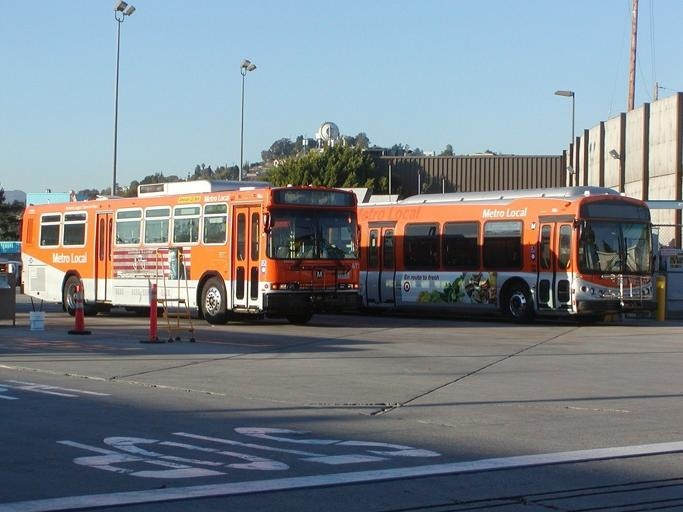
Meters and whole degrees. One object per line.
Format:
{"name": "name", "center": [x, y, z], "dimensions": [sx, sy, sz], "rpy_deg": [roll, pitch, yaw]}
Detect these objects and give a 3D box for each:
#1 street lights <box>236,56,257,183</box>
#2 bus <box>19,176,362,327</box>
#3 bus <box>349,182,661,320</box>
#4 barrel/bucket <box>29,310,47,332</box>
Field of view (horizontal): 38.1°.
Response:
{"name": "street lights", "center": [-0.964, -1.367, 9.808], "dimensions": [0.196, 1.107, 0.233], "rpy_deg": [-3, 20, -17]}
{"name": "bus", "center": [-5.930, -0.041, 29.979], "dimensions": [13.745, 4.419, 3.135], "rpy_deg": [-5, -5, 33]}
{"name": "bus", "center": [3.617, 0.057, 32.966], "dimensions": [11.857, 4.390, 3.347], "rpy_deg": [0, -3, 40]}
{"name": "barrel/bucket", "center": [-7.621, 1.644, 24.821], "dimensions": [0.318, 0.467, 0.440], "rpy_deg": [0, -5, -26]}
